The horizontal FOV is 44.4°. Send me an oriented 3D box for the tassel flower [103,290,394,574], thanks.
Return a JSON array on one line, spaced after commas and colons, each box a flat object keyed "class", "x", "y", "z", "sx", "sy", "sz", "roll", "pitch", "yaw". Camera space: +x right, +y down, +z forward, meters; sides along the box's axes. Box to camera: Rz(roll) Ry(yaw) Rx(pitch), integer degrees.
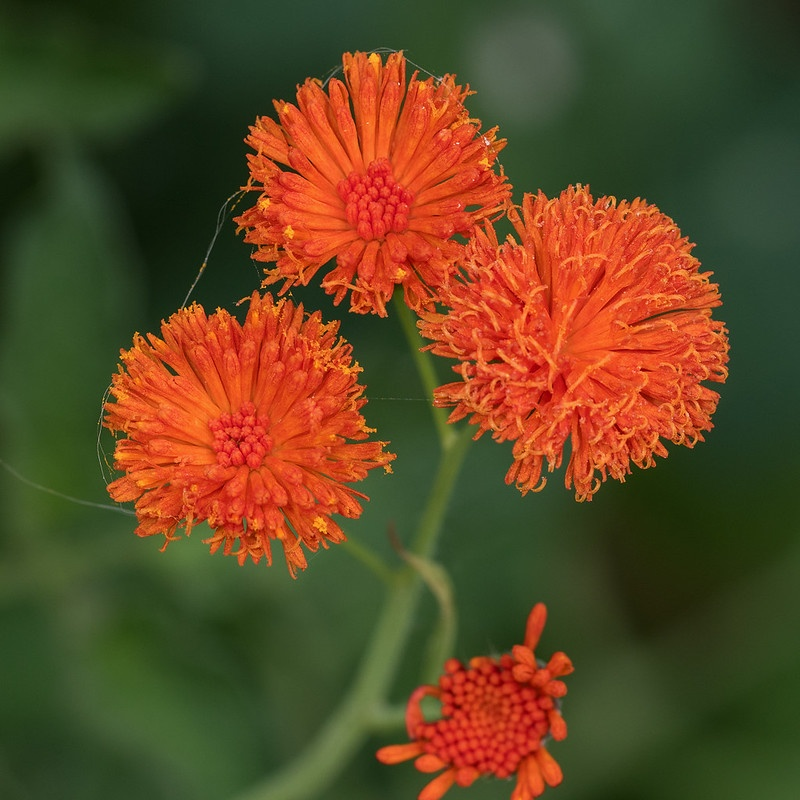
[{"class": "tassel flower", "x": -0.230, "y": 0.061, "z": 1.228, "sx": 0.384, "sy": 0.162, "sz": 0.333, "roll": -18, "pitch": 43, "yaw": -31}]
